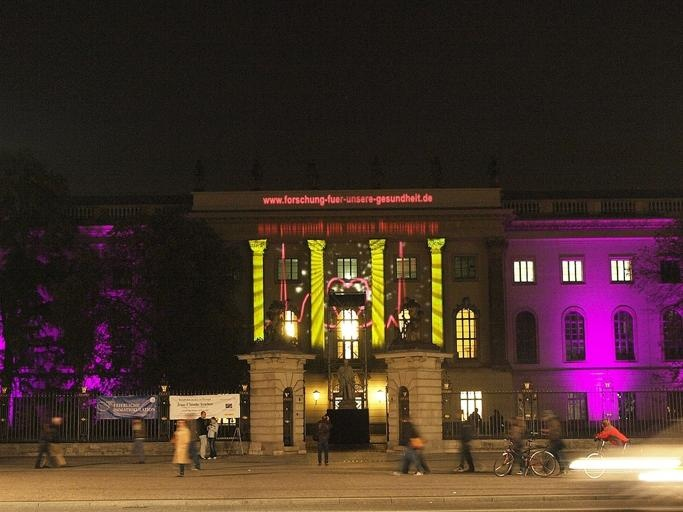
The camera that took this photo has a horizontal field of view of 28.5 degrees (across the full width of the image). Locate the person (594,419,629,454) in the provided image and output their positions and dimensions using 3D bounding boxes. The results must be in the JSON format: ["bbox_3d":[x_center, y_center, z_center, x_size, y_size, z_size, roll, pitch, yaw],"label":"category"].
[{"bbox_3d":[12.486,8.088,62.509,1.600,1.182,1.124,3,2,-3],"label":"person"}]
